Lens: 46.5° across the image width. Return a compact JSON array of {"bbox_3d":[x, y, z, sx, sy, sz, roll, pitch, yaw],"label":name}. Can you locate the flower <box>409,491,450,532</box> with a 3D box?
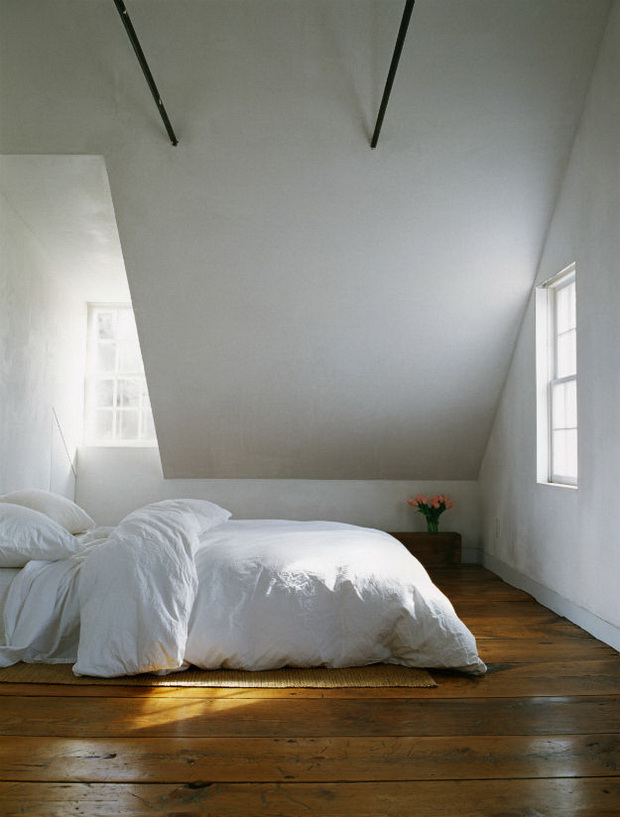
[{"bbox_3d":[0.875,0.786,5.415,0.259,0.300,0.281,3,-16,-10],"label":"flower"}]

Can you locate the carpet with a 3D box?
[{"bbox_3d":[-0.351,1.048,2.805,1.644,0.022,0.244,1,-2,-1],"label":"carpet"}]
